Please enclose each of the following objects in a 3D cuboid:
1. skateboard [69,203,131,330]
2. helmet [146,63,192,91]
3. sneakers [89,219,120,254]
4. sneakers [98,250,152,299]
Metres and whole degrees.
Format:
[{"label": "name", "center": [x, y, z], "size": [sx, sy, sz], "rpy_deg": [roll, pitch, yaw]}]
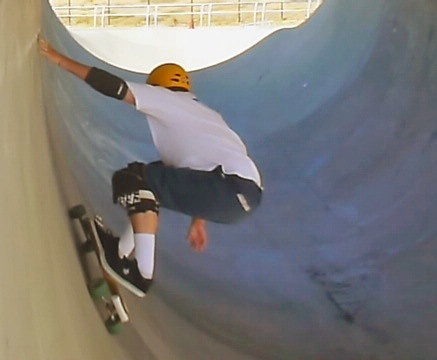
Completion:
[{"label": "skateboard", "center": [-0.749, 0.594, 2.732], "size": [0.257, 0.168, 1.015], "rpy_deg": [39, 27, -56]}, {"label": "helmet", "center": [-0.396, -0.768, 3.354], "size": [0.290, 0.248, 0.247], "rpy_deg": [-5, 59, -14]}, {"label": "sneakers", "center": [-0.798, 0.392, 2.995], "size": [0.151, 0.064, 0.263], "rpy_deg": [19, 32, -56]}, {"label": "sneakers", "center": [-0.624, 0.624, 2.887], "size": [0.364, 0.072, 0.197], "rpy_deg": [52, 38, -12]}]
